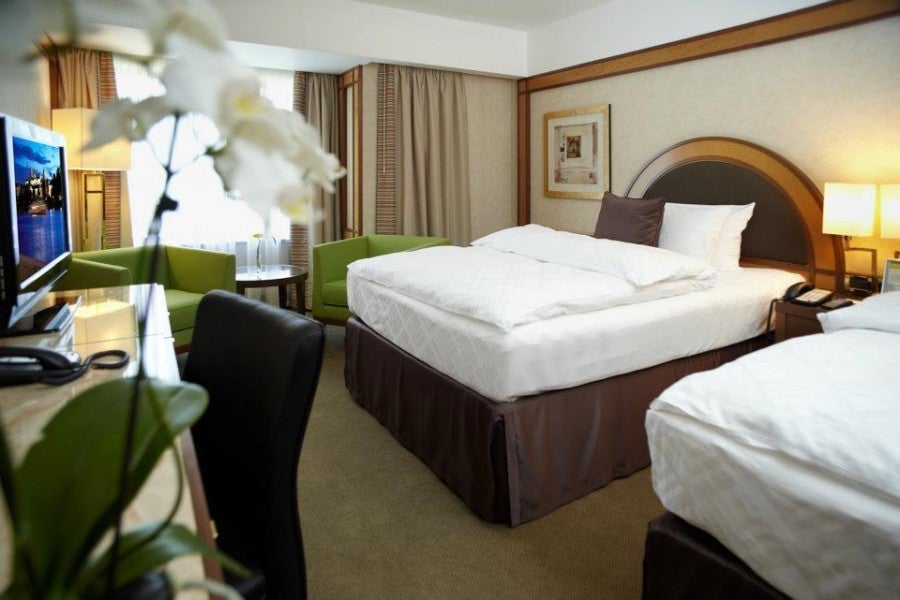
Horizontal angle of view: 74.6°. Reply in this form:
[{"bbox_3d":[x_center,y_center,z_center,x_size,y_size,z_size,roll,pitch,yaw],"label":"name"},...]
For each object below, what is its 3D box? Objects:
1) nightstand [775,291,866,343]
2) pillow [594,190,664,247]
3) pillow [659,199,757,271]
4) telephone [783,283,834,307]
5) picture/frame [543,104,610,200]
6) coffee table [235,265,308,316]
[{"bbox_3d":[1.927,0.088,3.116,0.363,0.377,0.261,6,10,34],"label":"nightstand"},{"bbox_3d":[1.260,-0.560,4.116,0.185,0.402,0.532,5,2,-30],"label":"pillow"},{"bbox_3d":[1.659,-0.404,3.771,0.460,0.349,0.171,9,7,37],"label":"pillow"},{"bbox_3d":[1.953,-0.030,3.206,0.194,0.075,0.139,-21,23,-21],"label":"telephone"},{"bbox_3d":[1.152,-1.345,5.290,0.040,1.056,1.006,-3,4,-31],"label":"picture/frame"},{"bbox_3d":[-1.380,-0.149,4.602,0.495,0.395,0.503,-3,11,-21],"label":"coffee table"}]
